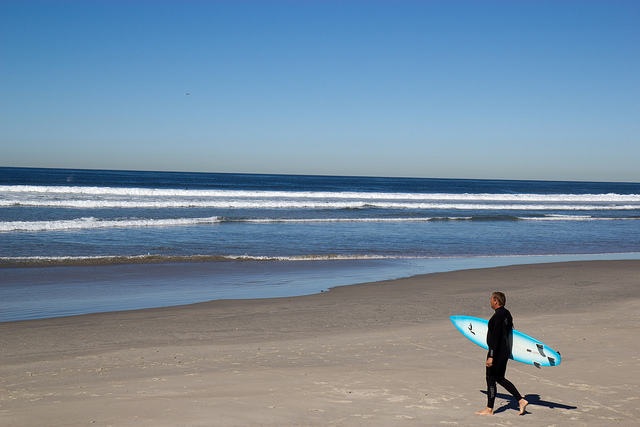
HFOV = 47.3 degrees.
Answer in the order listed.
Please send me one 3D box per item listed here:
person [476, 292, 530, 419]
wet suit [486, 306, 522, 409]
[{"bbox_3d":[3.662,2.914,15.082,1.052,2.606,0.422,-4,0,-3],"label":"person"},{"bbox_3d":[3.719,2.965,15.026,0.705,2.136,0.304,-4,0,5],"label":"wet suit"}]
